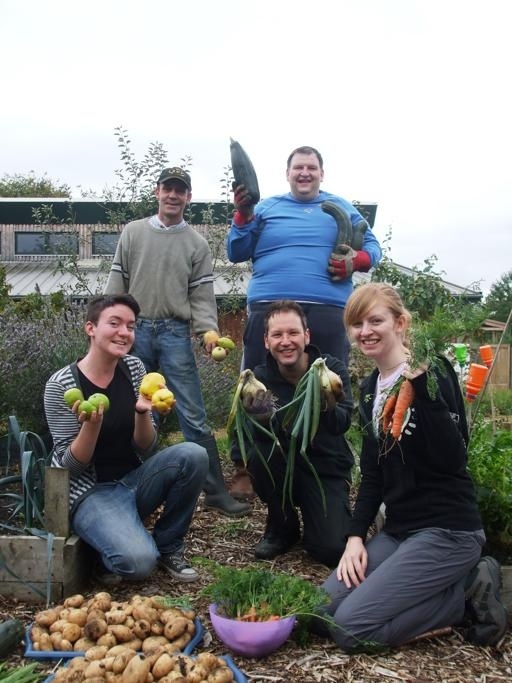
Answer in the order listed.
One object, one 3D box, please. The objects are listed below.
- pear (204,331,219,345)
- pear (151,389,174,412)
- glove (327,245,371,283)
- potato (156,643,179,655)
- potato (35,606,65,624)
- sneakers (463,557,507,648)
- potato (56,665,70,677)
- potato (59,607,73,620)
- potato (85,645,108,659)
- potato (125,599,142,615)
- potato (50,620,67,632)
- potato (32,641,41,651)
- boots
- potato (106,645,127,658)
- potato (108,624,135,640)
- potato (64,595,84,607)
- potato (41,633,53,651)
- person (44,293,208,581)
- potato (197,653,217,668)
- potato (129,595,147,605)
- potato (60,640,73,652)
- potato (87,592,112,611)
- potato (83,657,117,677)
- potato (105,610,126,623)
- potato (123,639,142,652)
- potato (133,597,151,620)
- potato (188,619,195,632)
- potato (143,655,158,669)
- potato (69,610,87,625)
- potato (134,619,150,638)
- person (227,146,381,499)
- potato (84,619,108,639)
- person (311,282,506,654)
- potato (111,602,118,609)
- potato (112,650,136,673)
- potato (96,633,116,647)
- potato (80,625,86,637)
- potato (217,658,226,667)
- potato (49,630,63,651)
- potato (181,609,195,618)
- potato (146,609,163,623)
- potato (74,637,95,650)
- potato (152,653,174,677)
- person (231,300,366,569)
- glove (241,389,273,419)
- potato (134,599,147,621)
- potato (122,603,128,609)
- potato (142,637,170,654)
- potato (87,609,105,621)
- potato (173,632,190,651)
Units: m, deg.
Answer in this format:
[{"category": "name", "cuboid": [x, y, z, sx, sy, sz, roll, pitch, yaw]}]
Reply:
[{"category": "pear", "cuboid": [-0.269, -0.021, 3.767, 0.079, 0.066, 0.077, -4, 9, 32]}, {"category": "pear", "cuboid": [-0.438, 0.279, 2.832, 0.102, 0.117, 0.131, 4, 7, -9]}, {"category": "glove", "cuboid": [0.631, -0.510, 4.045, 0.157, 0.233, 0.366, 11, 9, 40]}, {"category": "potato", "cuboid": [-0.313, 1.083, 2.145, 0.048, 0.028, 0.054, 8, -7, 0]}, {"category": "potato", "cuboid": [-0.811, 1.056, 2.366, 0.059, 0.030, 0.091, -3, -6, -7]}, {"category": "sneakers", "cuboid": [0.928, 1.052, 2.465, 0.149, 0.297, 0.180, 6, 7, 6]}, {"category": "potato", "cuboid": [-0.640, 1.100, 2.030, 0.021, 0.029, 0.037, 28, -13, 22]}, {"category": "potato", "cuboid": [-0.746, 1.063, 2.374, 0.031, 0.015, 0.031, -1, -1, 29]}, {"category": "potato", "cuboid": [-0.553, 1.077, 2.103, 0.032, 0.024, 0.057, 21, 16, 41]}, {"category": "potato", "cuboid": [-0.473, 1.026, 2.360, 0.025, 0.054, 0.044, 40, -14, -4]}, {"category": "potato", "cuboid": [-0.743, 1.072, 2.310, 0.046, 0.019, 0.043, -3, 4, -23]}, {"category": "potato", "cuboid": [-0.814, 1.130, 2.254, 0.033, 0.014, 0.031, -2, -3, -2]}, {"category": "boots", "cuboid": [-0.087, 0.838, 3.806, 0.336, 0.472, 0.400, 3, 4, -44]}, {"category": "potato", "cuboid": [-0.485, 1.073, 2.116, 0.058, 0.029, 0.042, -1, -11, -28]}, {"category": "potato", "cuboid": [-0.491, 1.064, 2.219, 0.068, 0.035, 0.049, 29, -5, 6]}, {"category": "potato", "cuboid": [-0.730, 1.056, 2.470, 0.053, 0.025, 0.052, -6, -10, 39]}, {"category": "potato", "cuboid": [-0.769, 1.120, 2.258, 0.023, 0.042, 0.043, -11, 40, -4]}, {"category": "person", "cuboid": [-0.702, 0.472, 2.978, 0.820, 1.314, 0.734, -1, 0, 27]}, {"category": "potato", "cuboid": [-0.173, 1.087, 2.078, 0.047, 0.044, 0.046, -4, 17, 0]}, {"category": "potato", "cuboid": [-0.472, 1.027, 2.420, 0.057, 0.021, 0.058, 5, 4, 22]}, {"category": "potato", "cuboid": [-0.702, 1.116, 2.232, 0.026, 0.029, 0.040, -2, 4, -14]}, {"category": "potato", "cuboid": [-0.627, 1.046, 2.447, 0.064, 0.036, 0.071, 7, -8, -6]}, {"category": "potato", "cuboid": [-0.519, 1.079, 2.010, 0.044, 0.043, 0.086, -4, -5, 31]}, {"category": "potato", "cuboid": [-0.523, 1.035, 2.299, 0.045, 0.029, 0.057, -4, -3, -36]}, {"category": "potato", "cuboid": [-0.450, 1.098, 2.197, 0.082, 0.026, 0.076, 4, -7, -2]}, {"category": "potato", "cuboid": [-0.437, 1.027, 2.336, 0.054, 0.028, 0.062, 1, 33, -15]}, {"category": "potato", "cuboid": [-0.245, 1.092, 2.340, 0.037, 0.022, 0.028, 58, 1, 40]}, {"category": "potato", "cuboid": [-0.367, 1.080, 2.052, 0.039, 0.035, 0.019, -1, 38, -1]}, {"category": "potato", "cuboid": [-0.689, 1.059, 2.344, 0.053, 0.046, 0.052, 29, 0, 20]}, {"category": "potato", "cuboid": [-0.416, 1.062, 2.246, 0.058, 0.051, 0.029, 6, -28, -26]}, {"category": "person", "cuboid": [0.344, -0.284, 4.140, 1.015, 1.937, 0.782, -2, 8, -3]}, {"category": "potato", "cuboid": [-0.588, 1.054, 2.233, 0.084, 0.056, 0.062, -7, 24, -32]}, {"category": "person", "cuboid": [0.642, 0.498, 2.587, 0.690, 1.507, 0.709, -1, 2, -40]}, {"category": "potato", "cuboid": [-0.566, 1.055, 2.431, 0.022, 0.010, 0.027, -5, -7, 2]}, {"category": "potato", "cuboid": [-0.442, 1.070, 2.043, 0.061, 0.033, 0.046, -38, 16, -16]}, {"category": "potato", "cuboid": [-0.542, 1.084, 2.202, 0.047, 0.043, 0.041, 14, 51, 10]}, {"category": "potato", "cuboid": [-0.649, 1.085, 2.281, 0.031, 0.032, 0.020, 3, -5, 0]}, {"category": "potato", "cuboid": [-0.123, 1.124, 2.131, 0.039, 0.012, 0.036, 2, -7, 1]}, {"category": "potato", "cuboid": [-0.739, 1.102, 2.247, 0.033, 0.054, 0.042, -24, 15, 8]}, {"category": "potato", "cuboid": [-0.275, 1.075, 2.411, 0.041, 0.025, 0.047, 12, -4, 0]}, {"category": "potato", "cuboid": [-0.385, 1.035, 2.295, 0.046, 0.025, 0.043, 15, 15, -19]}, {"category": "potato", "cuboid": [-0.637, 1.111, 2.225, 0.048, 0.024, 0.046, 7, 1, 20]}, {"category": "potato", "cuboid": [-0.311, 1.085, 2.034, 0.046, 0.077, 0.041, 41, -9, -9]}, {"category": "person", "cuboid": [0.168, 0.462, 3.239, 0.672, 1.281, 0.624, 0, 1, -5]}, {"category": "glove", "cuboid": [0.012, 0.300, 2.929, 0.120, 0.135, 0.069, 0, 9, -3]}, {"category": "potato", "cuboid": [-0.445, 1.033, 2.332, 0.049, 0.056, 0.034, 11, -5, 1]}, {"category": "potato", "cuboid": [-0.521, 1.059, 2.431, 0.027, 0.008, 0.032, -1, 2, 2]}, {"category": "potato", "cuboid": [-0.354, 1.071, 2.150, 0.076, 0.029, 0.073, -2, -5, 30]}, {"category": "potato", "cuboid": [-0.606, 1.033, 2.302, 0.054, 0.027, 0.041, -20, -18, 36]}, {"category": "potato", "cuboid": [-0.276, 1.116, 2.267, 0.033, 0.028, 0.065, 18, 17, 20]}]
